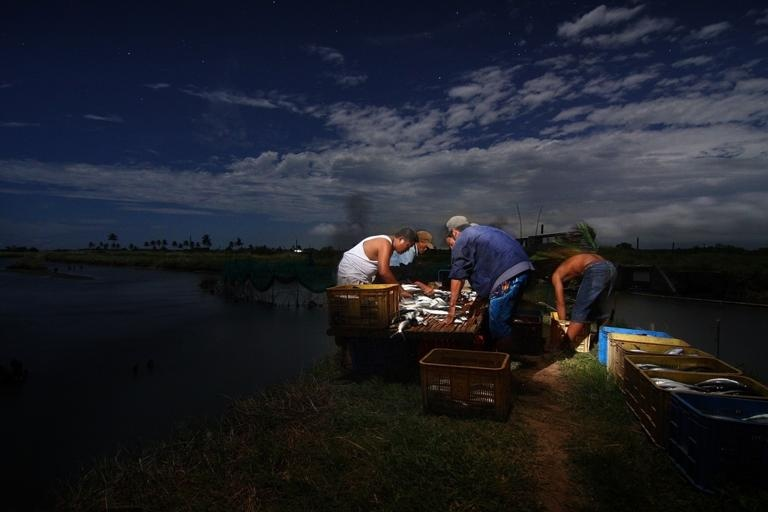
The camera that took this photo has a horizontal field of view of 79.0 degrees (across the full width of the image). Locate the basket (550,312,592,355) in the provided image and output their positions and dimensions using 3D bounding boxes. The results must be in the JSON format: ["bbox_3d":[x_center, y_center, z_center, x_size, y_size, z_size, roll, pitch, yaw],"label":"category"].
[{"bbox_3d":[4.378,1.814,11.015,0.860,0.550,0.886,-2,-1,31],"label":"basket"}]

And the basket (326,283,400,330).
[{"bbox_3d":[-0.385,0.898,9.370,1.289,0.718,1.293,-3,8,6],"label":"basket"}]

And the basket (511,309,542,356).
[{"bbox_3d":[3.300,1.826,11.530,0.771,0.998,1.015,3,-2,-16],"label":"basket"}]

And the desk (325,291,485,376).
[{"bbox_3d":[0.263,1.570,9.098,2.584,1.327,1.944,0,1,29],"label":"desk"}]

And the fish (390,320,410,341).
[{"bbox_3d":[0.333,1.406,8.911,0.194,0.232,0.551,-12,7,17],"label":"fish"}]

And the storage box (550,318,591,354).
[{"bbox_3d":[4.381,1.906,11.010,0.780,0.501,0.797,-3,1,25],"label":"storage box"}]

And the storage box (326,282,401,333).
[{"bbox_3d":[-0.391,0.941,9.047,0.991,0.630,1.014,-1,1,11],"label":"storage box"}]
